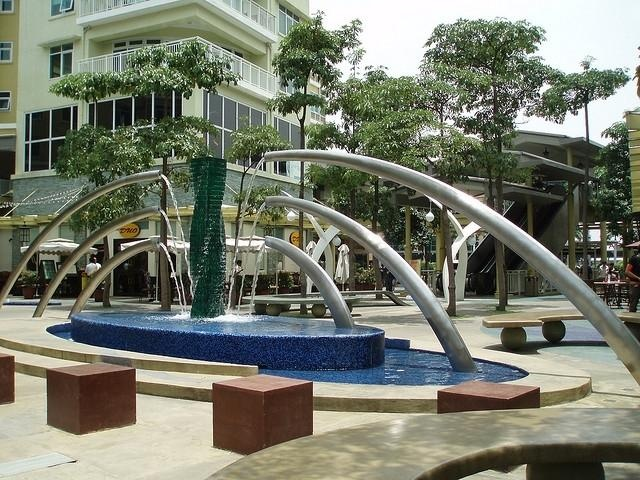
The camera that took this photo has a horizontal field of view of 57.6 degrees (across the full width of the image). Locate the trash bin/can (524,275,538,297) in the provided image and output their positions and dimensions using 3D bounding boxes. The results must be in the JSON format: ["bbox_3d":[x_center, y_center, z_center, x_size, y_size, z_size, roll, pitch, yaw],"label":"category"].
[{"bbox_3d":[10.944,2.391,30.174,0.669,0.979,0.688,0,-2,11],"label":"trash bin/can"}]

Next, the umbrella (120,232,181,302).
[{"bbox_3d":[-7.059,1.166,24.161,2.972,3.153,3.009,-2,3,-39],"label":"umbrella"}]
